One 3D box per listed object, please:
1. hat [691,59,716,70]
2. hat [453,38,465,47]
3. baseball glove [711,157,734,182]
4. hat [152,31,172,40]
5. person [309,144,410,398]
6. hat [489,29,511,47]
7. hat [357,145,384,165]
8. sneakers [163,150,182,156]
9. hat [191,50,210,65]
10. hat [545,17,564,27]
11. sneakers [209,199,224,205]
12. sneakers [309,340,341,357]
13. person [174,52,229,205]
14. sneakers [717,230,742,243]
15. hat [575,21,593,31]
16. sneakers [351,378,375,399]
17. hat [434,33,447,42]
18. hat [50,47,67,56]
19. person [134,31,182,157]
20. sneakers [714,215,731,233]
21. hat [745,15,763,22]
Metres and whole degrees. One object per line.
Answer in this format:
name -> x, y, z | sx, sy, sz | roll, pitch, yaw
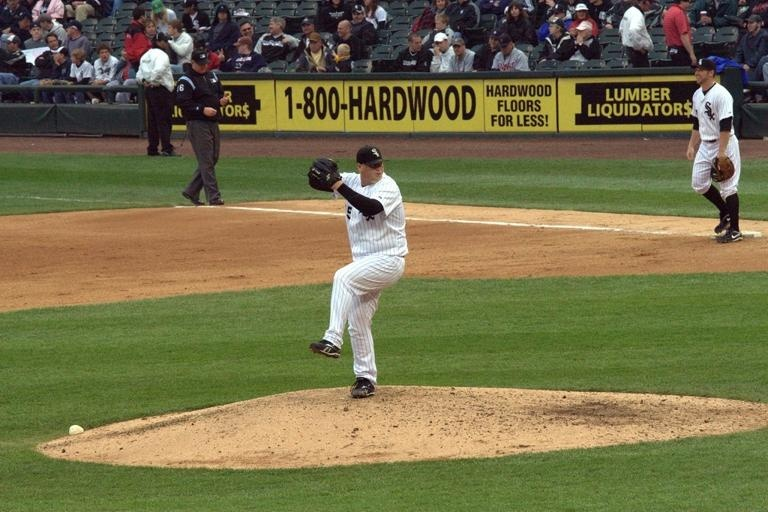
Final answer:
hat -> 5.176, -3.106, 23.608 | 0.420, 0.176, 0.263 | 4, 4, -13
hat -> 1.635, -4.942, 33.607 | 0.251, 0.193, 0.340 | -2, 7, 0
baseball glove -> 5.425, -1.438, 23.691 | 0.413, 0.452, 0.286 | 3, 18, 22
hat -> -5.003, -5.028, 33.244 | 0.279, 0.170, 0.443 | 8, 11, 42
person -> -0.353, 0.180, 19.126 | 0.953, 3.241, 1.121 | 2, 8, 25
hat -> 2.536, -4.982, 33.334 | 0.347, 0.221, 0.494 | 1, -9, 38
hat -> -0.266, -1.328, 19.098 | 0.249, 0.173, 0.348 | -19, 16, -39
sneakers -> -4.819, -2.351, 33.009 | 0.464, 0.165, 0.139 | -1, 11, -4
hat -> -3.492, -3.752, 27.385 | 0.271, 0.154, 0.340 | -9, 20, -24
hat -> 3.854, -5.423, 33.680 | 0.420, 0.175, 0.267 | 3, 9, 7
sneakers -> -3.230, -1.045, 27.861 | 0.308, 0.085, 0.121 | -5, -8, 16
sneakers -> -0.805, 1.190, 18.848 | 0.385, 0.255, 0.181 | -3, 7, -14
person -> -3.452, -2.438, 27.695 | 0.926, 2.951, 1.001 | -3, 8, -6
sneakers -> 5.582, -0.336, 24.022 | 0.456, 0.166, 0.171 | -1, 1, -11
hat -> 4.465, -5.255, 33.193 | 0.314, 0.234, 0.350 | -2, 7, -6
sneakers -> -0.298, 1.693, 19.051 | 0.362, 0.258, 0.190 | -3, 7, -15
hat -> 1.246, -5.118, 33.926 | 0.312, 0.222, 0.396 | -1, 7, 2
hat -> -8.309, -5.228, 37.062 | 0.461, 0.159, 0.278 | 0, 4, 25
person -> -5.086, -3.427, 32.485 | 0.720, 2.357, 0.915 | -3, 8, -10
sneakers -> 5.537, -0.541, 24.195 | 0.157, 0.339, 0.131 | 50, 27, 11
hat -> 7.948, -5.174, 31.755 | 0.320, 0.132, 0.204 | 10, 5, -6
